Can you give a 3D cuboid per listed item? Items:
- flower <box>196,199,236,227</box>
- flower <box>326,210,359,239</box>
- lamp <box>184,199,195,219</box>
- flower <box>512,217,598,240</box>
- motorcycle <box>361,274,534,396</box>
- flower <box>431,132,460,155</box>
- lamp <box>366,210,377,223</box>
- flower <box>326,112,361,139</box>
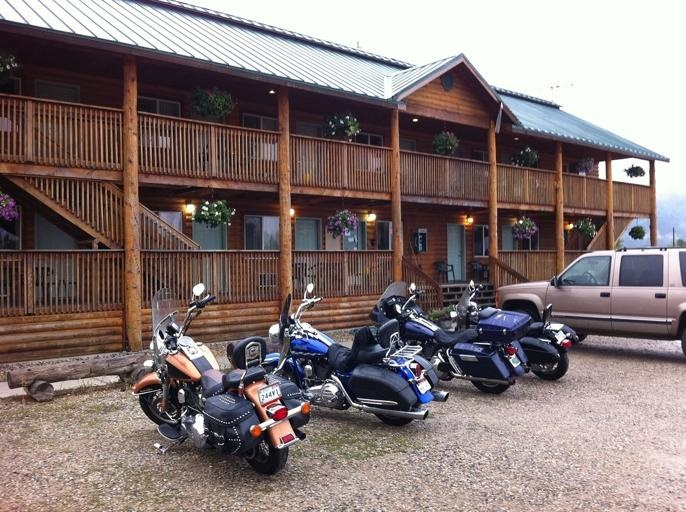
[{"bbox_3d":[-3.290,-1.083,15.975,0.890,0.751,0.948,0,3,3],"label":"flower"},{"bbox_3d":[-0.014,-0.972,19.245,0.882,0.728,0.947,-5,7,-1],"label":"flower"},{"bbox_3d":[-4.513,-1.339,18.372,0.344,0.534,0.233,-2,8,-12],"label":"lamp"},{"bbox_3d":[8.790,-1.138,25.594,2.750,0.920,0.795,2,-19,-24],"label":"flower"},{"bbox_3d":[1.564,1.442,11.099,3.040,1.837,1.525,11,14,38],"label":"motorcycle"},{"bbox_3d":[3.531,-3.782,21.212,0.911,1.037,0.978,-1,5,8],"label":"flower"},{"bbox_3d":[0.998,-1.391,21.890,0.350,0.516,0.374,-1,-6,6],"label":"lamp"},{"bbox_3d":[0.015,-3.969,19.168,0.873,1.022,0.942,-3,11,-6],"label":"flower"}]
